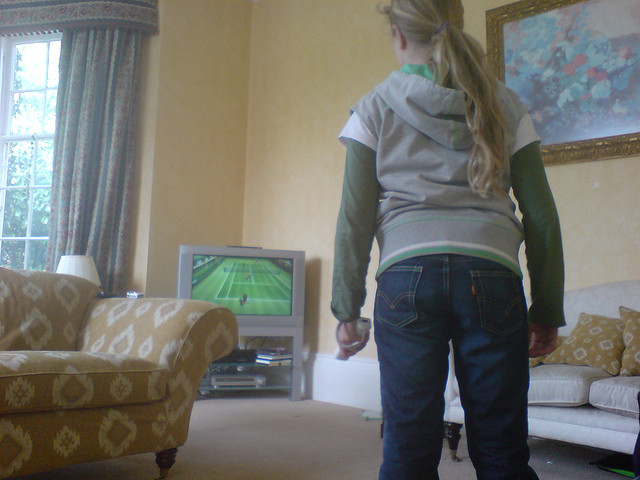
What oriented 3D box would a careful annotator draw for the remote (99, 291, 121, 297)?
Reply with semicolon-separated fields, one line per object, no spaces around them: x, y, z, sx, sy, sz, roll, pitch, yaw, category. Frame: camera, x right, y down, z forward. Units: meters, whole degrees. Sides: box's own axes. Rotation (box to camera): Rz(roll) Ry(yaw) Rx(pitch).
-1.342;0.345;3.623;0.139;0.035;0.135;-1;-1;45;remote

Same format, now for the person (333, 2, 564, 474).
0.388;-0.037;1.714;0.681;1.424;0.261;1;-2;10;person

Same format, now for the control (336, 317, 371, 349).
0.105;0.275;1.729;0.078;0.112;0.039;32;-8;3;control

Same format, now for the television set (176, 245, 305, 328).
-0.704;0.450;4.533;0.561;0.770;1.059;-25;-22;40;television set

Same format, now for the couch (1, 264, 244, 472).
-1.006;0.601;2.518;1.213;0.746;0.912;8;-13;-44;couch

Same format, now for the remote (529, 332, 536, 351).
0.653;0.312;1.757;0.012;0.044;0.032;8;-2;3;remote

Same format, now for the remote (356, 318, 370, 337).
0.125;0.265;1.729;0.052;0.051;0.042;-2;11;-13;remote
